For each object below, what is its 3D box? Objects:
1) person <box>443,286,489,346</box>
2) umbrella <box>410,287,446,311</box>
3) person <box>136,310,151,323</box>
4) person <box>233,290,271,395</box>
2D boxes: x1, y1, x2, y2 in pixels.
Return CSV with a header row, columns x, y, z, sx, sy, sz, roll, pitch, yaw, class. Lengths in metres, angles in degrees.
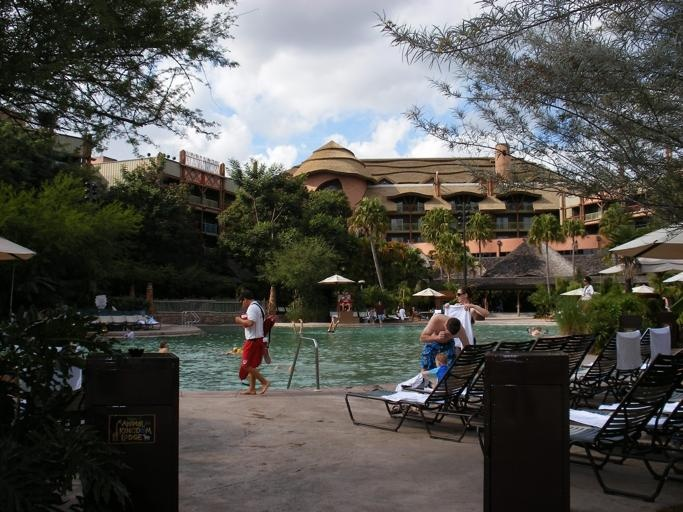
x,y,z,sx,sy,sz,roll,pitch,yaw,class
1.761,1.029,9.685,0.656,1.215,0.404,19,35,36,person
6.453,2.763,46.301,2.175,1.093,2.189,1,-3,-8,umbrella
-9.167,2.777,30.552,0.556,0.517,0.861,-1,-5,-37,person
-1.448,1.387,10.778,0.496,1.679,0.647,1,-3,4,person
